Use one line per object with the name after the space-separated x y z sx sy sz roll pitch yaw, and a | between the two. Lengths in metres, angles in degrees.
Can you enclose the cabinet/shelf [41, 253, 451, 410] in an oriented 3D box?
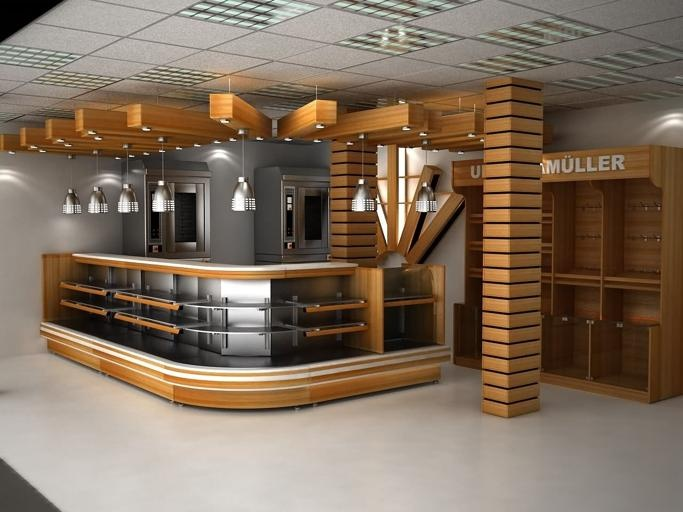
-0.681 1.113 7.957 3.799 1.134 3.930 1 0 -41 | cabinet/shelf
